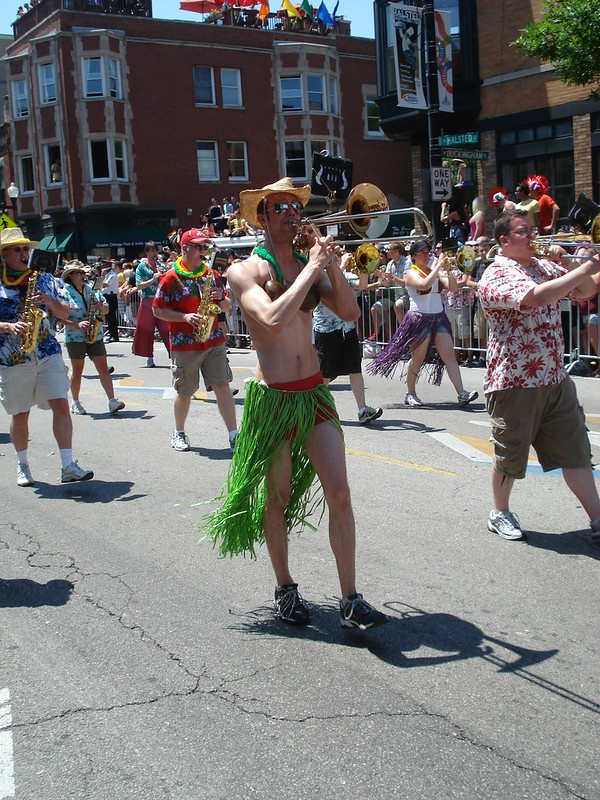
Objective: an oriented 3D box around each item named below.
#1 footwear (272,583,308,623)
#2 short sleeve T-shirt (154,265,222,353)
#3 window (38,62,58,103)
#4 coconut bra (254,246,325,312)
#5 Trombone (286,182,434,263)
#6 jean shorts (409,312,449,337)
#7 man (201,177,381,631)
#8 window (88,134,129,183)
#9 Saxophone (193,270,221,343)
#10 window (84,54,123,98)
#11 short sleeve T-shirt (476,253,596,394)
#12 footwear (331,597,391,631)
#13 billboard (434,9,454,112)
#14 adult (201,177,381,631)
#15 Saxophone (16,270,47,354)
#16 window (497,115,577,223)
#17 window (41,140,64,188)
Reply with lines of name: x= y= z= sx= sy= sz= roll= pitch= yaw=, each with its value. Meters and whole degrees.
footwear: x=-0.045 y=0.930 z=3.260 sx=0.096 sy=0.097 sz=0.224 roll=0 pitch=-1 yaw=-22
short sleeve T-shirt: x=-1.094 y=-0.944 z=7.114 sx=0.840 sy=0.854 sz=0.475 roll=-8 pitch=20 yaw=-29
window: x=-11.760 y=-14.710 z=32.932 sx=1.204 sy=1.845 sz=0.265 roll=2 pitch=7 yaw=40
coconut bra: x=-0.051 y=-0.570 z=3.110 sx=0.251 sy=0.327 sz=0.120 roll=19 pitch=-14 yaw=-33
Trombone: x=0.369 y=-0.853 z=3.318 sx=0.293 sy=0.313 sz=0.749 roll=-34 pitch=26 yaw=-13
jean shorts: x=1.598 y=-0.907 z=8.614 sx=0.526 sy=0.323 sz=0.273 roll=-1 pitch=1 yaw=0
man: x=-0.079 y=0.001 z=3.169 sx=0.728 sy=2.027 sz=0.814 roll=-4 pitch=6 yaw=-10
window: x=-8.923 y=-11.145 z=32.580 sx=2.508 sy=2.712 sz=0.313 roll=-1 pitch=10 yaw=-1
Saxophone: x=-0.942 y=-0.918 z=7.031 sx=0.300 sy=0.253 sz=0.875 roll=-4 pitch=41 yaw=1
window: x=-9.057 y=-14.770 z=32.256 sx=2.290 sy=2.472 sz=0.169 roll=-1 pitch=0 yaw=-13
short sleeve T-shirt: x=1.362 y=-0.447 z=4.158 sx=0.719 sy=0.790 sz=0.540 roll=-13 pitch=7 yaw=-33
footwear: x=0.262 y=0.906 z=2.973 sx=0.089 sy=0.148 sz=0.223 roll=-6 pitch=6 yaw=-27
billboard: x=3.017 y=-7.321 z=15.067 sx=0.569 sy=2.080 sz=0.031 roll=-21 pitch=28 yaw=-25
adult: x=-0.070 y=0.001 z=3.162 sx=0.707 sy=2.027 sz=0.821 roll=-4 pitch=6 yaw=-15
Saxophone: x=-2.105 y=-0.677 z=5.527 sx=0.207 sy=0.648 sz=0.321 roll=-5 pitch=6 yaw=-20
window: x=6.772 y=-6.597 z=20.088 sx=0.480 sy=2.568 sz=2.434 roll=-7 pitch=7 yaw=-35
window: x=-11.562 y=-10.973 z=33.196 sx=0.536 sy=2.088 sz=1.153 roll=-8 pitch=7 yaw=-42
